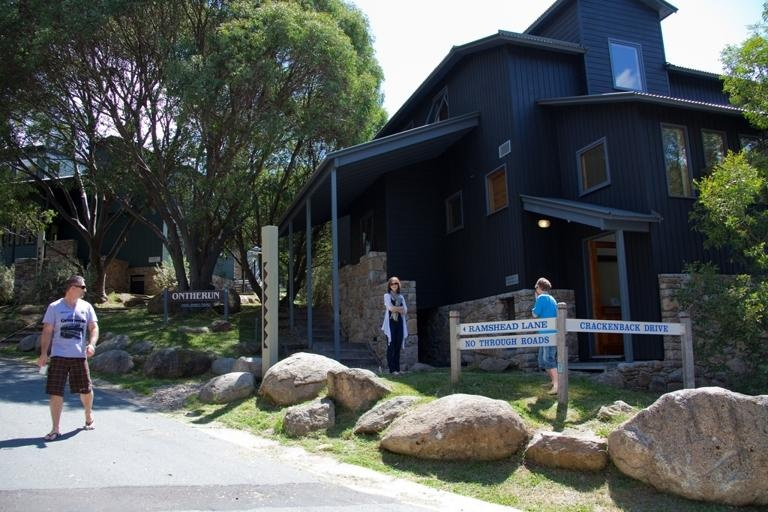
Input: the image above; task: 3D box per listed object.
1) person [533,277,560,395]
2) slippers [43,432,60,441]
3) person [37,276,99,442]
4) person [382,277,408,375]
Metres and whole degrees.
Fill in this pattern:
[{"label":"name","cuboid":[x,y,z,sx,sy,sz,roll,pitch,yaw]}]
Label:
[{"label":"person","cuboid":[3.254,1.600,11.460,0.526,2.195,1.588,3,4,15]},{"label":"slippers","cuboid":[-5.589,3.036,9.548,0.230,0.104,0.214,-1,5,-31]},{"label":"person","cuboid":[-5.576,1.784,10.048,0.868,2.834,1.161,-1,4,-30]},{"label":"person","cuboid":[0.242,1.682,13.480,0.506,2.337,0.523,2,4,2]}]
